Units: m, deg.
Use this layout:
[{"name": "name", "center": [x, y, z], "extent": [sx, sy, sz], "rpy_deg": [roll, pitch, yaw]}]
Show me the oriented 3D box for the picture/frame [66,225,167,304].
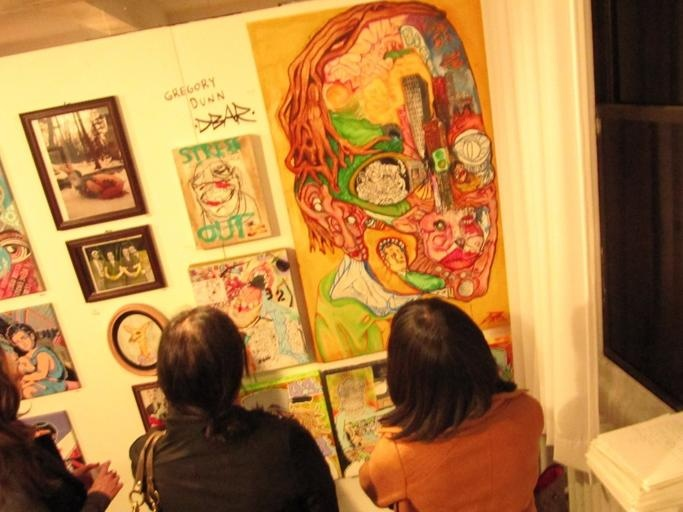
[{"name": "picture/frame", "center": [-0.933, 0.018, 2.196], "extent": [0.276, 0.234, 0.020], "rpy_deg": [-13, 19, 8]}]
